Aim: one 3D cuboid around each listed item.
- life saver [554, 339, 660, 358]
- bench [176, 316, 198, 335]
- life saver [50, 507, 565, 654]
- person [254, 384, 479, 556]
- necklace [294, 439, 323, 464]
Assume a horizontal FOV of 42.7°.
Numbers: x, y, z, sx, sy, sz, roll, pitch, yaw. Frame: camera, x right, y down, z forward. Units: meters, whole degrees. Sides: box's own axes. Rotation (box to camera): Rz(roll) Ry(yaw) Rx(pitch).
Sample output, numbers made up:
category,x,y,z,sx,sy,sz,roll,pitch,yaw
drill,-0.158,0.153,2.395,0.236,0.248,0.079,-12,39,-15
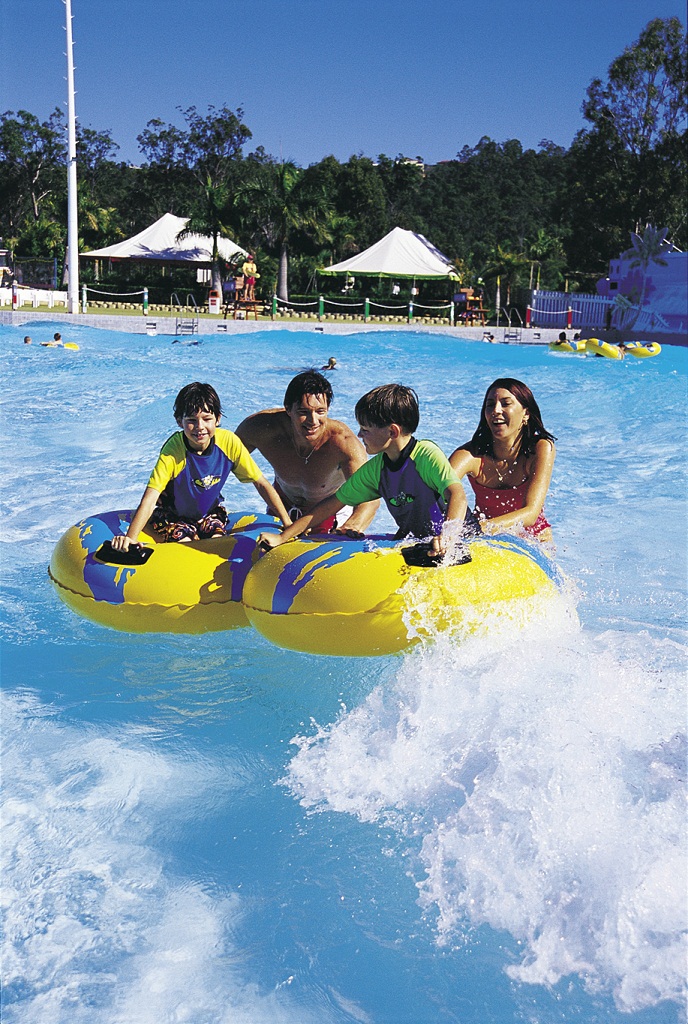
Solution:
category,x,y,z,sx,sy,sz,roll,pitch,yaw
life saver,5.422,-3.387,18.239,1.583,0.362,2.673,-3,13,-21
bench,-3.435,-4.048,19.192,0.505,0.307,1.412,0,12,-10
life saver,-0.208,0.333,3.361,1.879,0.536,0.614,7,13,21
person,0.201,-0.084,3.349,0.762,0.772,0.568,2,4,37
necklace,-0.171,-0.259,3.811,0.086,0.086,0.024,22,13,19
